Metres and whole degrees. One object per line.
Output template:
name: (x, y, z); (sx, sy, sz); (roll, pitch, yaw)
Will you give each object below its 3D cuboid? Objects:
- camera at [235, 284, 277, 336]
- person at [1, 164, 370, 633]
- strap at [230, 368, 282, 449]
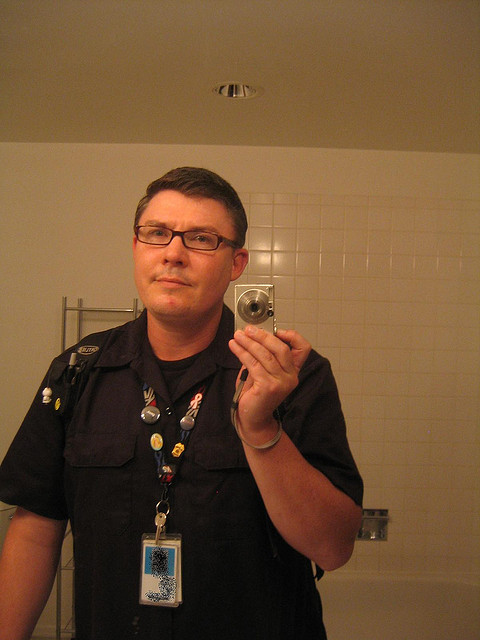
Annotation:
camera: (0.026, -0.017, 1.156); (0.103, 0.130, 0.027); (0, -12, 5)
person: (-0.123, 0.164, 1.262); (0.706, 0.951, 0.336); (-2, -1, 9)
strap: (0.026, 0.159, 1.150); (0.089, 0.136, 0.029); (8, -5, 0)
